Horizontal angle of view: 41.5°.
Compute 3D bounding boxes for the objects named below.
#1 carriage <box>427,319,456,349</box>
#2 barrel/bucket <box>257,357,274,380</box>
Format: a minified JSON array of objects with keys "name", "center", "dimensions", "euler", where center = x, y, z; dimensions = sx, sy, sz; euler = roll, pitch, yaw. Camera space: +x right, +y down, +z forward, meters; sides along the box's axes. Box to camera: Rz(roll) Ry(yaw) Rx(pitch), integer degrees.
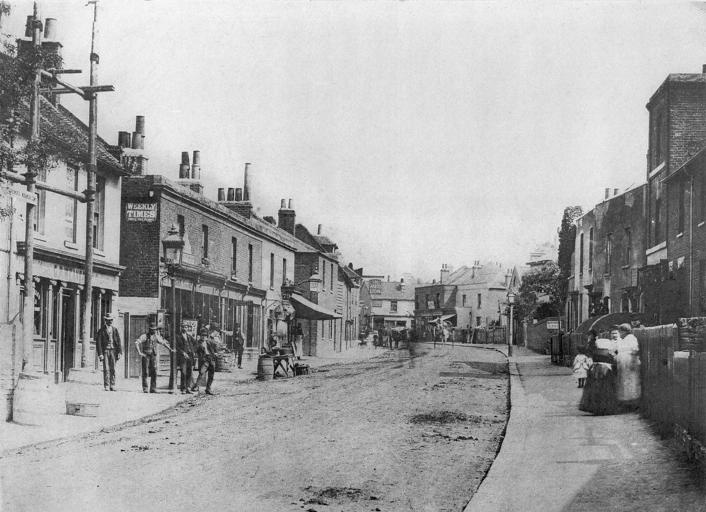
[{"name":"carriage","center":[4.290,3.797,45.636],"dimensions":[1.296,1.702,1.321],"euler":[6,-15,-36]},{"name":"barrel/bucket","center":[-2.354,3.072,25.340],"dimensions":[0.477,0.751,0.514],"euler":[0,-8,0]}]
